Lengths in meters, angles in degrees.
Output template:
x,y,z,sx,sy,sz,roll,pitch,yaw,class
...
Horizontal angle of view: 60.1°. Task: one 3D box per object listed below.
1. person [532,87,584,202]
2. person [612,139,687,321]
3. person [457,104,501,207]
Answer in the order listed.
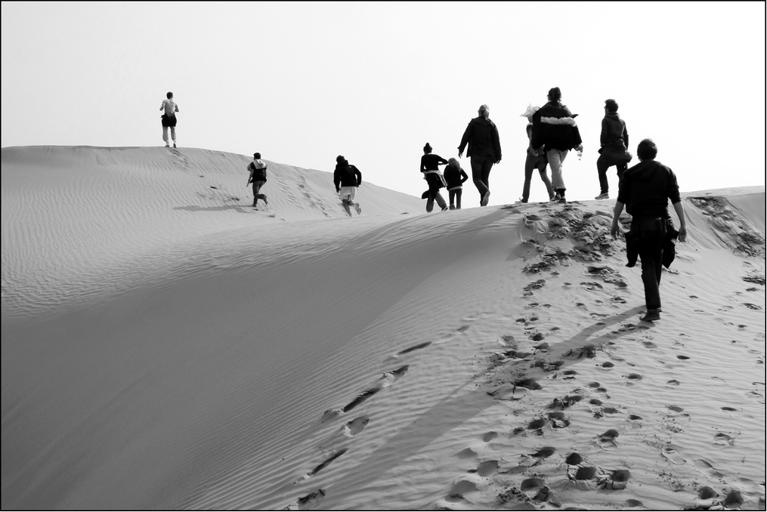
x,y,z,sx,sy,sz,roll,pitch,yaw,class
3.239,-2.066,12.444,0.879,2.112,0.355,4,11,15,person
4.005,-0.389,10.054,1.030,2.686,0.494,6,12,23,person
2.006,-2.069,13.758,0.706,2.053,0.890,7,12,27,person
